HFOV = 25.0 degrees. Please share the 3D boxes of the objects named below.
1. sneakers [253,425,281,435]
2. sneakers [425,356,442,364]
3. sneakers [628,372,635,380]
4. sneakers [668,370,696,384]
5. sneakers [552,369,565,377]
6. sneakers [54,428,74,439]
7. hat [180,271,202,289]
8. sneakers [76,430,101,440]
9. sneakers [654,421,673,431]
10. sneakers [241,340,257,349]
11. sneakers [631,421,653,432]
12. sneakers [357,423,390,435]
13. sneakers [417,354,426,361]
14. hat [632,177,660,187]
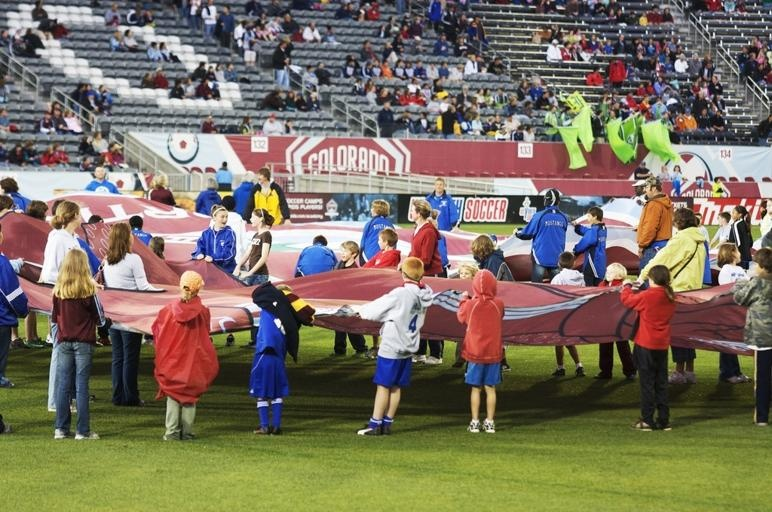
[{"bbox_3d":[-2.204,3.224,32.217,0.515,0.211,0.187,2,-1,14],"label":"sneakers"},{"bbox_3d":[0.936,2.091,35.090,0.328,0.134,0.138,3,-2,13],"label":"sneakers"},{"bbox_3d":[4.848,2.367,34.378,0.146,0.128,0.118,4,-3,16],"label":"sneakers"},{"bbox_3d":[5.819,2.393,34.166,0.585,0.224,0.203,3,-2,2],"label":"sneakers"},{"bbox_3d":[3.427,2.311,34.572,0.255,0.152,0.130,1,-15,18],"label":"sneakers"},{"bbox_3d":[-5.988,3.256,32.009,0.291,0.126,0.160,6,0,12],"label":"sneakers"},{"bbox_3d":[-3.619,0.476,31.965,0.294,0.331,0.358,10,-38,11],"label":"hat"},{"bbox_3d":[-5.532,3.292,32.037,0.388,0.159,0.159,-1,-4,-3],"label":"sneakers"},{"bbox_3d":[5.174,3.167,32.508,0.135,0.159,0.360,-2,3,-43],"label":"sneakers"},{"bbox_3d":[-2.866,1.828,35.663,0.258,0.158,0.496,-2,0,-7],"label":"sneakers"},{"bbox_3d":[4.792,3.176,32.542,0.322,0.132,0.146,7,-8,12],"label":"sneakers"},{"bbox_3d":[-0.248,3.179,32.264,0.524,0.210,0.251,1,-3,6],"label":"sneakers"},{"bbox_3d":[0.687,2.059,35.143,0.223,0.135,0.194,-2,0,-10],"label":"sneakers"},{"bbox_3d":[5.236,-1.475,34.501,0.450,0.153,0.540,-1,-1,32],"label":"hat"}]
